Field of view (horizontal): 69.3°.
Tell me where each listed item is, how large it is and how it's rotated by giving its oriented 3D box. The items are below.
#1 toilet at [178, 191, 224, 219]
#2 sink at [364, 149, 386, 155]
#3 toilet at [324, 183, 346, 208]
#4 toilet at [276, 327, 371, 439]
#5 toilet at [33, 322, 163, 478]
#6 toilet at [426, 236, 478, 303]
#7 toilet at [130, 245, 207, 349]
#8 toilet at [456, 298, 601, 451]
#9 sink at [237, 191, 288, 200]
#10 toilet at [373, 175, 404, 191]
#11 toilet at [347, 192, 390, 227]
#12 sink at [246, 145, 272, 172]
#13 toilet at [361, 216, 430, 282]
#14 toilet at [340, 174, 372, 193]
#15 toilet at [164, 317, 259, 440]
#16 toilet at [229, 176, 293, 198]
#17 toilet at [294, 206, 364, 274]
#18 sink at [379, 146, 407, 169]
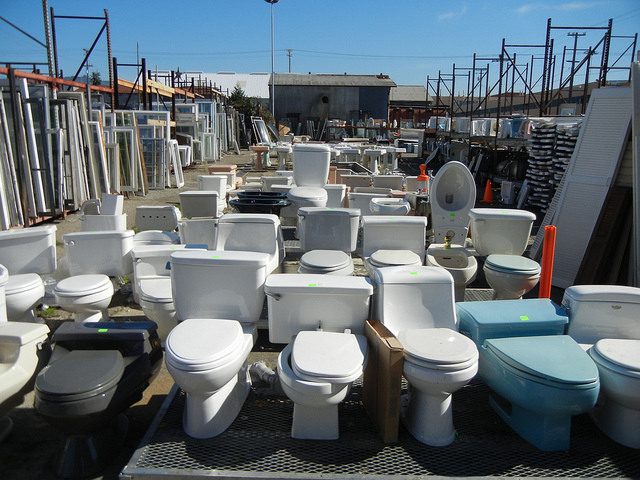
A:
[{"bbox_3d":[-1.953,-0.612,7.692,0.674,0.468,0.482,-1,18,-3],"label":"toilet"},{"bbox_3d":[1.744,-2.729,14.311,0.691,0.171,0.474,0,18,-4],"label":"sink"},{"bbox_3d":[0.289,-0.831,8.655,0.399,0.438,0.355,1,9,5],"label":"toilet"},{"bbox_3d":[0.033,1.297,4.170,0.735,0.767,1.036,4,16,6],"label":"toilet"},{"bbox_3d":[-1.873,1.315,4.108,0.822,0.917,1.119,2,5,5],"label":"toilet"},{"bbox_3d":[1.723,0.470,6.094,0.555,0.946,0.931,0,15,10],"label":"toilet"},{"bbox_3d":[-1.856,0.643,5.483,0.709,1.014,0.943,1,12,-18],"label":"toilet"},{"bbox_3d":[1.934,1.202,4.290,0.923,1.040,1.353,0,7,-8],"label":"toilet"},{"bbox_3d":[-0.962,-0.759,7.788,0.485,0.115,0.369,0,10,-4],"label":"sink"},{"bbox_3d":[1.583,-1.329,10.602,0.683,0.282,0.563,13,22,33],"label":"toilet"},{"bbox_3d":[0.871,-0.467,8.260,0.730,0.575,0.537,-11,36,5],"label":"toilet"},{"bbox_3d":[-2.536,-3.628,19.546,1.049,1.194,1.082,2,27,0],"label":"sink"},{"bbox_3d":[0.963,0.251,5.941,0.738,1.134,1.060,0,6,3],"label":"toilet"},{"bbox_3d":[0.835,-1.322,10.711,0.656,0.477,0.482,-2,5,-13],"label":"toilet"},{"bbox_3d":[-0.976,1.187,4.341,0.690,0.776,1.025,2,20,5],"label":"toilet"},{"bbox_3d":[-1.196,-1.263,10.192,1.038,0.728,0.722,-1,9,-3],"label":"toilet"},{"bbox_3d":[0.097,-0.011,5.906,0.616,1.069,1.023,0,6,3],"label":"toilet"},{"bbox_3d":[2.518,-2.890,15.730,0.840,0.954,0.922,-1,5,-4],"label":"sink"}]
